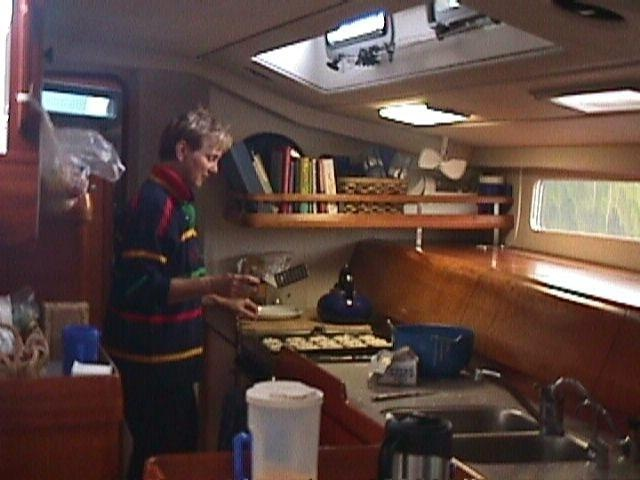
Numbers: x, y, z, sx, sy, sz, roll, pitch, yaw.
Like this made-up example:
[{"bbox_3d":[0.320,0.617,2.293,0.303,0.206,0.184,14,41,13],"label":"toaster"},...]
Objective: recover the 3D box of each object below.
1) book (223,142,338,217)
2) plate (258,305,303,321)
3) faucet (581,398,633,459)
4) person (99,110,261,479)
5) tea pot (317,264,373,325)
[{"bbox_3d":[-0.147,-0.224,2.326,0.357,0.121,0.280,2,-5,-6],"label":"book"},{"bbox_3d":[-0.162,0.290,2.439,0.175,0.042,0.182,3,6,-1],"label":"plate"},{"bbox_3d":[0.638,0.398,1.315,0.104,0.119,0.111,0,3,-6],"label":"faucet"},{"bbox_3d":[-0.471,0.199,1.916,0.506,1.238,0.321,3,5,0],"label":"person"},{"bbox_3d":[0.105,0.197,2.187,0.147,0.174,0.232,1,-9,-4],"label":"tea pot"}]
